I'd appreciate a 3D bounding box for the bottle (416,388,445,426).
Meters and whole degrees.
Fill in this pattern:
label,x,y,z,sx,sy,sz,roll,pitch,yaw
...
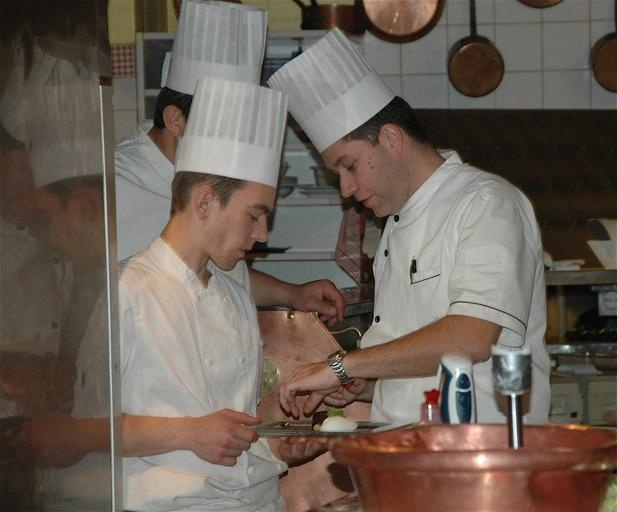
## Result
label,x,y,z,sx,sy,sz,roll,pitch,yaw
bottle,0.231,0.297,1.652,0.044,0.091,0.047,10,-20,4

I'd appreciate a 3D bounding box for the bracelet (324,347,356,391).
label,x,y,z,sx,sy,sz,roll,pitch,yaw
bracelet,0.071,0.293,2.100,0.054,0.097,0.085,-10,12,-15

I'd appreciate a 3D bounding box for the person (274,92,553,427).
label,x,y,z,sx,sy,sz,roll,pitch,yaw
person,0.185,0.080,2.634,0.718,1.334,0.853,1,-18,-3

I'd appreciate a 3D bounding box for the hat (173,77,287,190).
label,x,y,z,sx,sy,sz,roll,pitch,yaw
hat,-0.204,-0.314,2.238,0.261,0.264,0.248,12,2,-11
